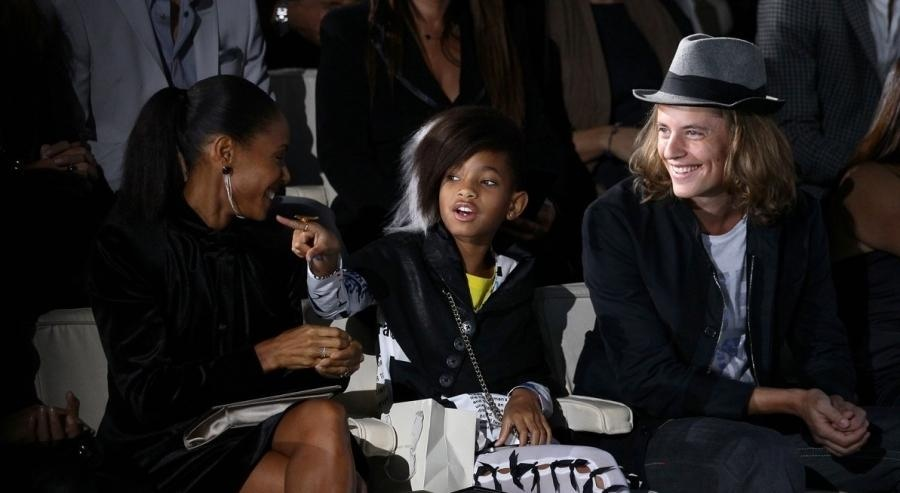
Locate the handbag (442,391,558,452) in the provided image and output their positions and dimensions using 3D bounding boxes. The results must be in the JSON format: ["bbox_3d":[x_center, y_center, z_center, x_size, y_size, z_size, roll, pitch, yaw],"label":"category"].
[{"bbox_3d":[0.254,0.659,2.919,0.112,0.226,0.241,16,-15,-34],"label":"handbag"}]

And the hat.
[{"bbox_3d":[1.063,-0.661,3.133,0.440,0.153,0.343,7,4,-8],"label":"hat"}]
